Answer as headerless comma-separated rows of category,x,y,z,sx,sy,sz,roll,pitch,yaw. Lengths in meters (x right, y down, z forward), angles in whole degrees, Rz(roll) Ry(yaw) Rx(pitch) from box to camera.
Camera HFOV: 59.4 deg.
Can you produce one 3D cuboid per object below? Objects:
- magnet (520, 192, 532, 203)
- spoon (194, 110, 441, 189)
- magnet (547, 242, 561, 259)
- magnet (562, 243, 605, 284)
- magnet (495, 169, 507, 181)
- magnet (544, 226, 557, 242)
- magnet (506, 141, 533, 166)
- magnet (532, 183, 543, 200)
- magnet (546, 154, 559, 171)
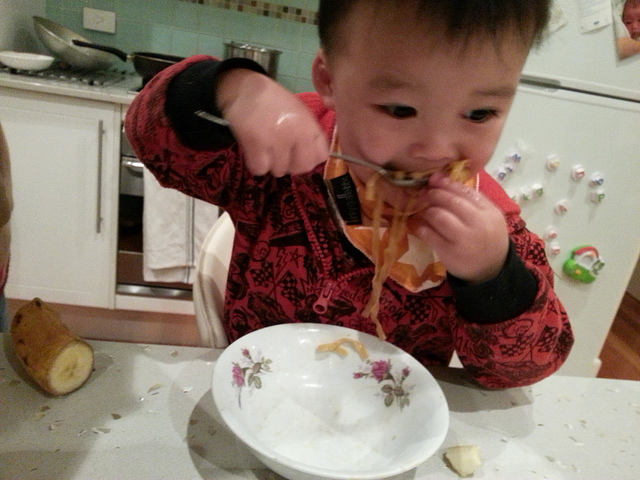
magnet,0.820,-0.173,2.224,0.038,0.036,0.013,-23,20,10
spoon,-0.002,-0.169,1.028,0.306,0.044,0.059,25,6,-14
magnet,0.962,0.040,2.290,0.046,0.061,0.022,2,8,6
magnet,1.087,0.096,2.306,0.150,0.151,0.044,-4,21,-4
magnet,0.716,-0.253,2.174,0.029,0.038,0.012,1,21,-1
magnet,0.935,-0.027,2.268,0.052,0.050,0.015,-1,20,-14
magnet,0.772,-0.339,2.165,0.047,0.078,0.044,43,77,8
magnet,0.859,-0.193,2.214,0.049,0.048,0.024,-14,14,-42
magnet,0.903,-0.305,2.173,0.042,0.070,0.038,-7,41,0
